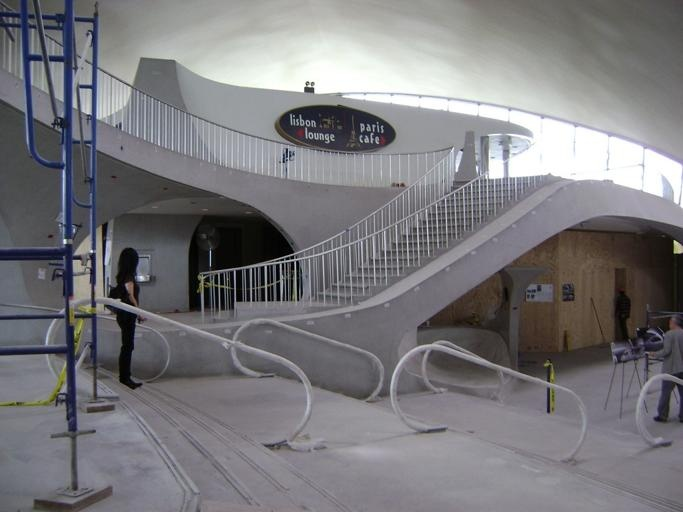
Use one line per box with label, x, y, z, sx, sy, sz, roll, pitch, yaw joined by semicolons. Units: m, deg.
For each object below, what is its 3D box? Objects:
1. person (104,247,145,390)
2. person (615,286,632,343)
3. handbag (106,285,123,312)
person;-2.950;0.851;7.583;0.457;1.787;1.281;2;0;-20
person;8.130;1.641;15.919;0.392;1.623;0.863;2;0;20
handbag;-3.039;0.574;7.443;0.183;0.362;0.402;2;0;-33
